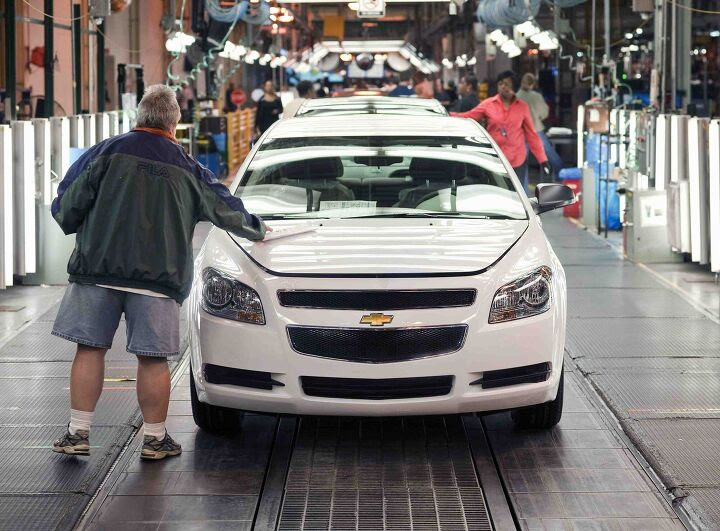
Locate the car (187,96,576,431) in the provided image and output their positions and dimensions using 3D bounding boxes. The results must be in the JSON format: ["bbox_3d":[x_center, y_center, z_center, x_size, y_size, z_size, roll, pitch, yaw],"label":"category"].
[{"bbox_3d":[0.168,-0.194,5.724,1.525,1.452,2.783,0,7,2],"label":"car"}]

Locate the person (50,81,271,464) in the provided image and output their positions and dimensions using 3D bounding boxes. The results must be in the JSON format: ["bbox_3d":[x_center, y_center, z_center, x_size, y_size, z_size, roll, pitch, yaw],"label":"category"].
[{"bbox_3d":[-1.317,0.053,4.672,1.132,2.179,0.418,-3,9,-19],"label":"person"}]

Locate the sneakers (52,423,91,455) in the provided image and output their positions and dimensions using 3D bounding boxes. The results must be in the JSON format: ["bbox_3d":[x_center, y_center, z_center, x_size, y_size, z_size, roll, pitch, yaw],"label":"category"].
[{"bbox_3d":[-1.775,1.021,4.734,0.110,0.160,0.310,1,2,-32],"label":"sneakers"}]

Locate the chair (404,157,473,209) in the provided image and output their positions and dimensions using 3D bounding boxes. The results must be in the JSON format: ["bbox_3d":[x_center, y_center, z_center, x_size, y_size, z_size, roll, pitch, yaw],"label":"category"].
[{"bbox_3d":[0.584,-0.632,5.769,0.319,0.488,0.483,4,2,12],"label":"chair"}]

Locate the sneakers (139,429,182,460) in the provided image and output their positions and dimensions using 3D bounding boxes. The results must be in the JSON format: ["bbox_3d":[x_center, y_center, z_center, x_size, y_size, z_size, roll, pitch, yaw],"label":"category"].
[{"bbox_3d":[-1.216,1.074,4.800,0.104,0.160,0.291,0,1,35],"label":"sneakers"}]
